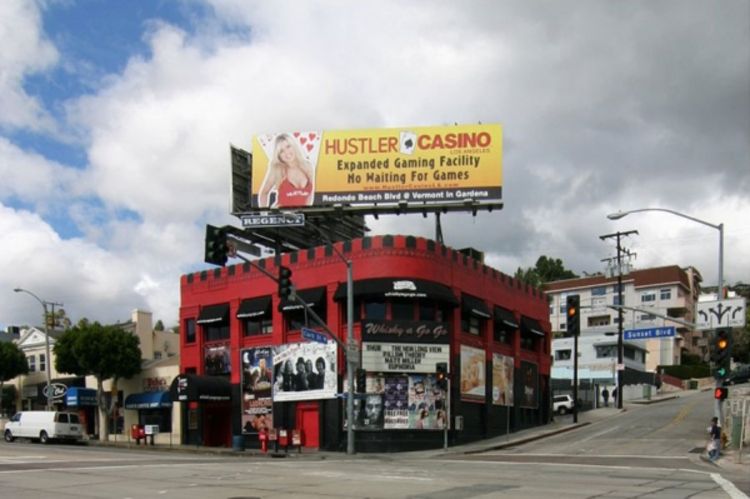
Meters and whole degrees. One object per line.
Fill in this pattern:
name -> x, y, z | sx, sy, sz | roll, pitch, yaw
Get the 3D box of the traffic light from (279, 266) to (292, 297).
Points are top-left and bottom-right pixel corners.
traffic light -> -5.915, 2.066, 65.010 | 0.825, 1.974, 0.770 | 2, -12, -17

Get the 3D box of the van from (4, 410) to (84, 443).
van -> -27.805, 14.732, 83.156 | 6.034, 2.697, 1.975 | -5, -12, 15

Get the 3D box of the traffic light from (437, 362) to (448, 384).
traffic light -> 4.886, 8.923, 71.889 | 0.612, 1.583, 1.187 | -7, -13, 27

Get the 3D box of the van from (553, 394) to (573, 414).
van -> 18.199, 14.792, 95.570 | 2.367, 1.307, 1.466 | 2, -3, 21

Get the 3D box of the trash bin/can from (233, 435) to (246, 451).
trash bin/can -> -10.595, 14.976, 77.219 | 0.949, 1.087, 0.921 | 3, -10, -24
